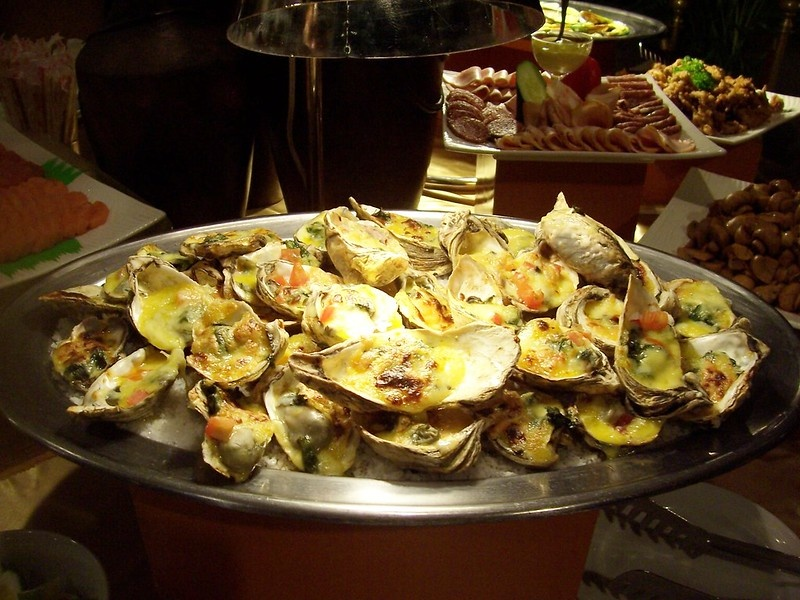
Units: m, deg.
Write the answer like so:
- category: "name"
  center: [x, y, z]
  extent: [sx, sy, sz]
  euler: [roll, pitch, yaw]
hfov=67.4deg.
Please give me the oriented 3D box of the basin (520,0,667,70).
- category: "basin"
  center: [0.977, -1.215, 2.819]
  extent: [0.435, 0.246, 0.703]
  euler: [10, 44, 11]

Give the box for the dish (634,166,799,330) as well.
- category: "dish"
  center: [0.850, -0.193, 1.802]
  extent: [0.502, 0.066, 0.440]
  euler: [24, 55, 26]
